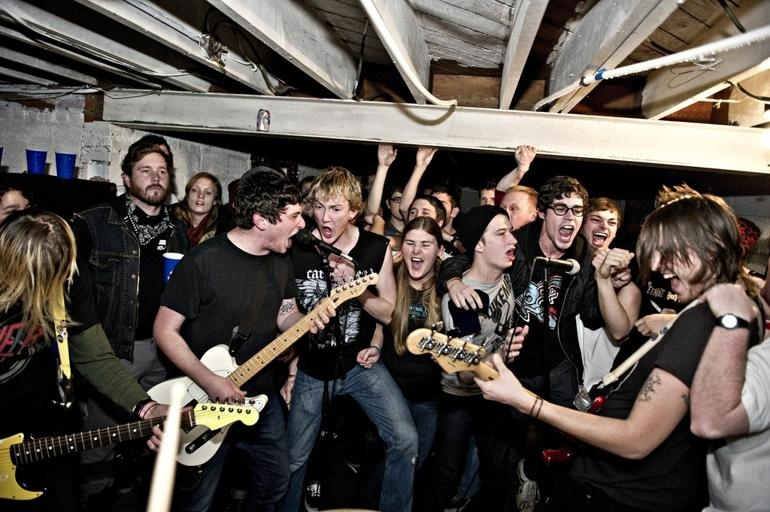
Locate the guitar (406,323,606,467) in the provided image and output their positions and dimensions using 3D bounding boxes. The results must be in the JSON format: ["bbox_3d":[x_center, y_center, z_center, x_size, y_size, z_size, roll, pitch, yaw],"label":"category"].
[{"bbox_3d":[0.926,1.029,4.088,1.332,0.516,0.241,35,6,-5],"label":"guitar"}]

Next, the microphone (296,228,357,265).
[{"bbox_3d":[-0.502,-0.055,4.335,0.395,0.106,0.087,28,45,-5],"label":"microphone"}]

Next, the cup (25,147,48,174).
[{"bbox_3d":[-3.367,-0.882,5.128,0.247,0.247,0.246,0,1,0],"label":"cup"}]
